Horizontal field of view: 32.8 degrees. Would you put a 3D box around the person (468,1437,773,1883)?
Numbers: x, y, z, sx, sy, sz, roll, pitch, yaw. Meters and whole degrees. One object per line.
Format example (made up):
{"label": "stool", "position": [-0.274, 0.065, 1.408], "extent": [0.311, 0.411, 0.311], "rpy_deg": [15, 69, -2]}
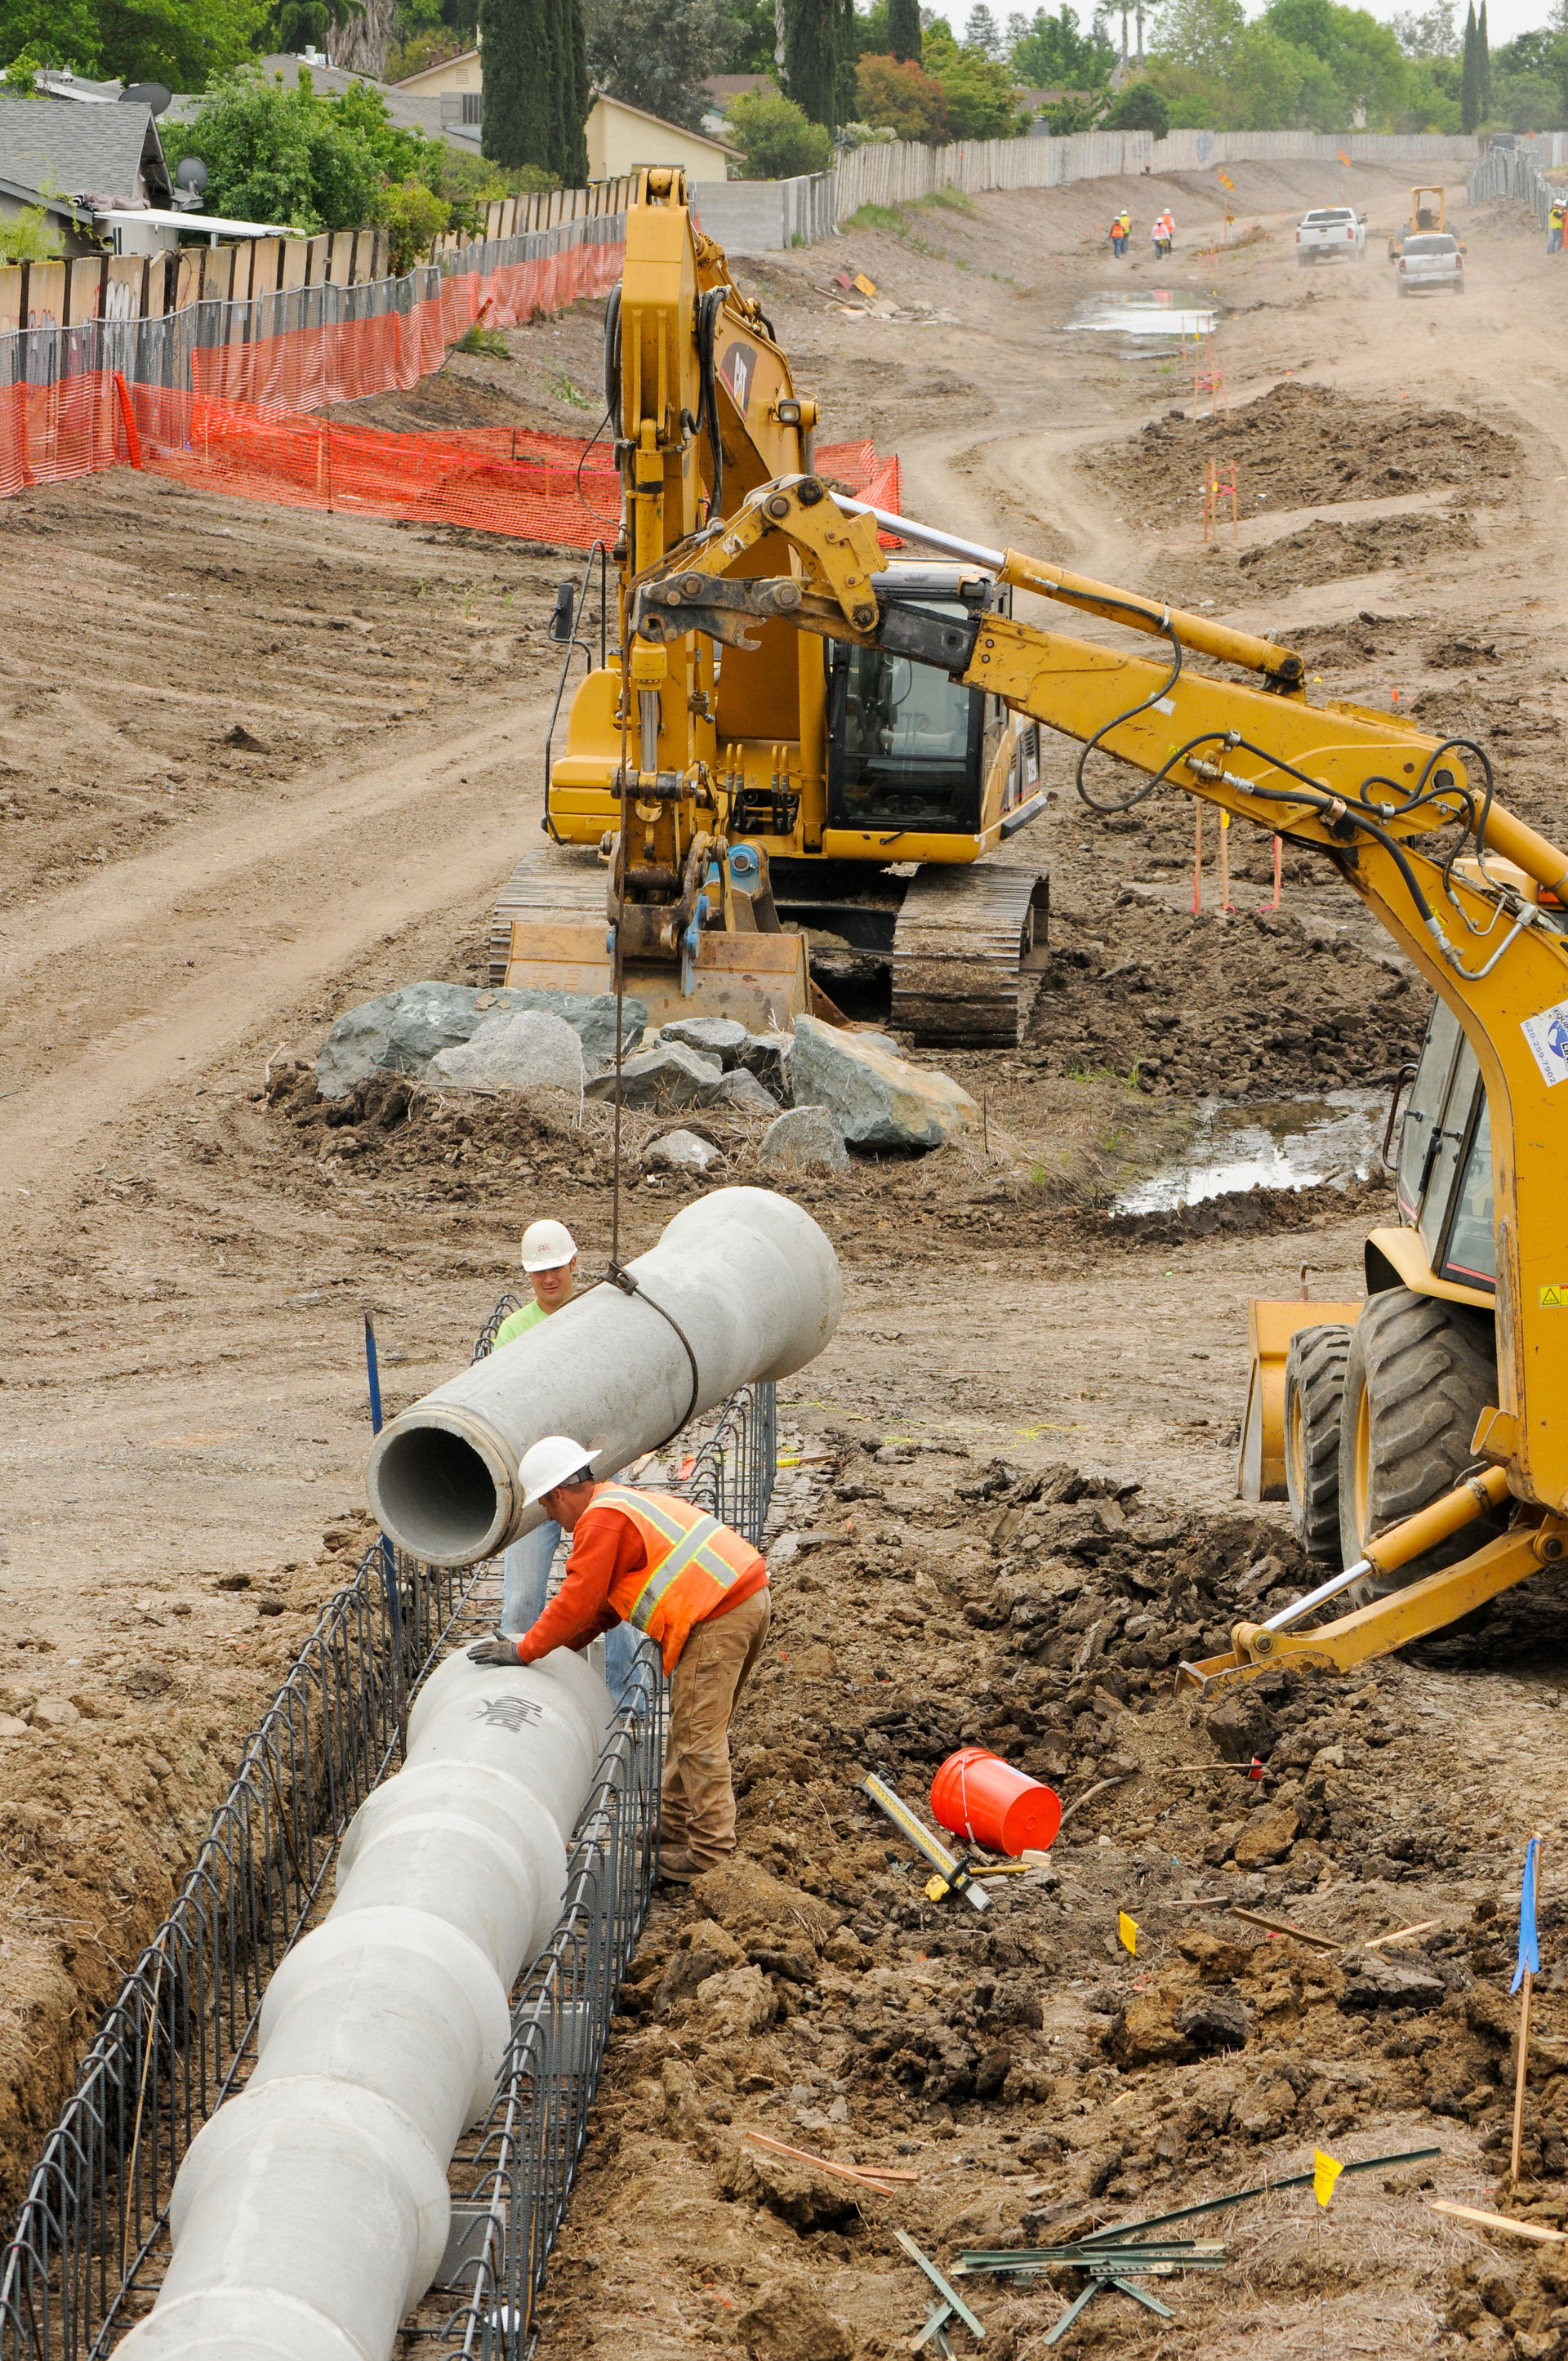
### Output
{"label": "person", "position": [-0.403, 1.341, 7.411], "extent": [0.721, 1.259, 0.273], "rpy_deg": [-3, 11, -28]}

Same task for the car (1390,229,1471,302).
{"label": "car", "position": [12.682, -17.808, 52.082], "extent": [1.438, 1.208, 2.846], "rpy_deg": [2, 31, 13]}

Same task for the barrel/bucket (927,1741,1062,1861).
{"label": "barrel/bucket", "position": [0.584, 1.814, 7.797], "extent": [0.292, 0.296, 0.324], "rpy_deg": [7, 4, -38]}

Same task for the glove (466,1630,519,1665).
{"label": "glove", "position": [-0.811, 1.307, 7.435], "extent": [0.140, 0.036, 0.074], "rpy_deg": [-11, 30, 12]}

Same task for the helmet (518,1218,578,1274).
{"label": "helmet", "position": [-0.758, 0.212, 8.476], "extent": [0.164, 0.120, 0.226], "rpy_deg": [-12, 5, 1]}

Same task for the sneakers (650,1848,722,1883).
{"label": "sneakers", "position": [-0.285, 1.971, 7.609], "extent": [0.111, 0.057, 0.148], "rpy_deg": [-27, 35, -24]}

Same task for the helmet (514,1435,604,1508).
{"label": "helmet", "position": [-0.626, 0.809, 7.306], "extent": [0.187, 0.195, 0.225], "rpy_deg": [5, 10, 15]}
